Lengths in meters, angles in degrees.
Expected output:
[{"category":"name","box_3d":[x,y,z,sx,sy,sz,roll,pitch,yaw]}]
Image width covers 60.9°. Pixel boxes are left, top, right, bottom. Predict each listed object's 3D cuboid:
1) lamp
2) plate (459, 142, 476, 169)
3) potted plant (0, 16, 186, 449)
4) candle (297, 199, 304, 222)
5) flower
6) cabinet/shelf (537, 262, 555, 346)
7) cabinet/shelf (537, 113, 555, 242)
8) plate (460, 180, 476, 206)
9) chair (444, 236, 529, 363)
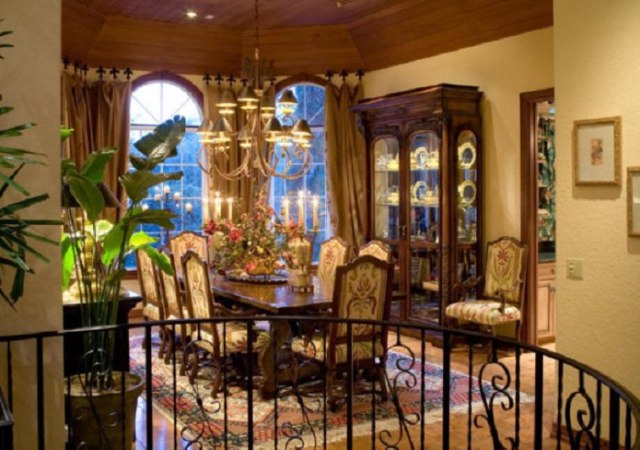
[{"category":"lamp","box_3d":[-0.789,-1.636,6.621,1.369,2.258,3.408,-2,2,-12]},{"category":"plate","box_3d":[1.797,-0.842,6.619,0.246,0.311,0.031,-2,3,-26]},{"category":"potted plant","box_3d":[-1.392,0.446,3.364,0.927,2.359,1.174,-1,2,-4]},{"category":"candle","box_3d":[-0.179,-0.134,5.117,0.039,0.243,0.187,-2,2,-7]},{"category":"flower","box_3d":[-0.741,0.023,5.863,0.759,0.658,0.479,-6,7,-8]},{"category":"cabinet/shelf","box_3d":[2.697,0.922,6.477,0.331,0.973,0.107,-3,3,-33]},{"category":"cabinet/shelf","box_3d":[2.878,-0.629,6.940,0.154,1.697,0.480,0,3,35]},{"category":"plate","box_3d":[1.801,-0.394,6.608,0.244,0.296,0.054,-2,3,-29]},{"category":"chair","box_3d":[1.848,0.804,6.147,1.185,1.213,1.172,-3,3,-28]}]
